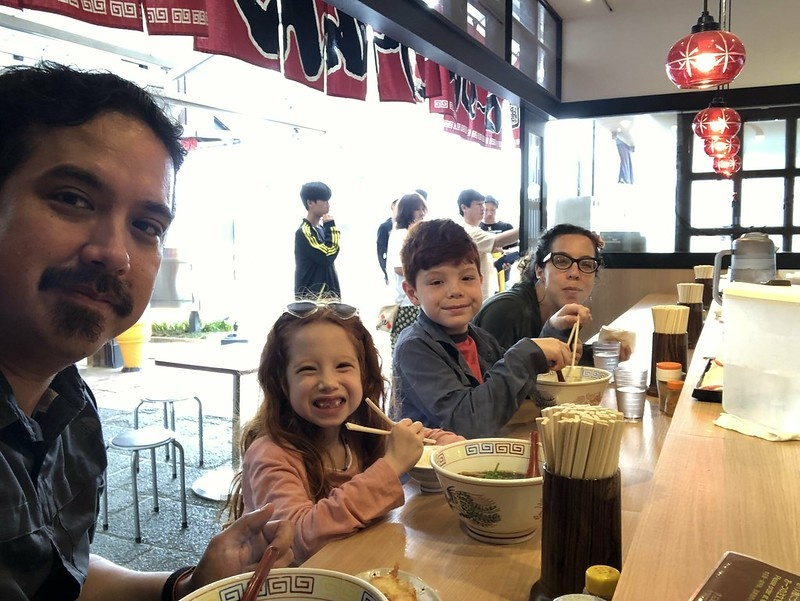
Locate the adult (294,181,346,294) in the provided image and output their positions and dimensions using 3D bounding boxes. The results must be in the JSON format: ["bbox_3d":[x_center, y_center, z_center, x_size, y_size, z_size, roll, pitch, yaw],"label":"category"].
[{"bbox_3d":[-0.705,-0.498,5.086,0.376,0.954,0.960,-2,7,-5],"label":"adult"}]

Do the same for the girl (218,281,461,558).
[{"bbox_3d":[-0.123,0.313,1.883,0.608,1.004,0.631,-4,-5,29],"label":"girl"}]

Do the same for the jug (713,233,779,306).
[{"bbox_3d":[1.944,-0.173,3.507,0.296,0.399,0.381,4,9,33],"label":"jug"}]

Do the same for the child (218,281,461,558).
[{"bbox_3d":[-0.118,0.322,1.880,0.608,1.004,0.631,-4,-5,29],"label":"child"}]

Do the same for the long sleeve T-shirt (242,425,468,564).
[{"bbox_3d":[-0.208,0.433,1.528,0.400,0.282,0.296,-12,-1,-13],"label":"long sleeve T-shirt"}]

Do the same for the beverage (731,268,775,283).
[{"bbox_3d":[1.926,-0.134,3.358,0.153,0.099,0.156,1,2,39],"label":"beverage"}]

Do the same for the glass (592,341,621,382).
[{"bbox_3d":[0.766,0.212,2.267,0.092,0.109,0.094,25,-27,-28],"label":"glass"}]

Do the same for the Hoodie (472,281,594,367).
[{"bbox_3d":[0.583,0.090,2.740,0.380,0.299,0.298,13,0,1],"label":"Hoodie"}]

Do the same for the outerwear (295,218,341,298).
[{"bbox_3d":[-0.681,-0.345,4.982,0.421,0.865,0.554,-2,12,-5],"label":"outerwear"}]

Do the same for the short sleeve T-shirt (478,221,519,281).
[{"bbox_3d":[0.936,-0.526,5.707,0.294,0.402,0.121,7,-9,-14],"label":"short sleeve T-shirt"}]

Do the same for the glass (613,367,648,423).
[{"bbox_3d":[0.726,0.303,1.956,0.092,0.151,0.096,0,9,14],"label":"glass"}]

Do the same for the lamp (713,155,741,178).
[{"bbox_3d":[2.966,-1.223,5.601,0.196,0.180,0.200,-7,7,-41],"label":"lamp"}]

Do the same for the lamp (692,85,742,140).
[{"bbox_3d":[2.490,-1.476,4.860,0.349,0.479,0.353,7,8,43],"label":"lamp"}]

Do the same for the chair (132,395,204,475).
[{"bbox_3d":[-1.518,0.901,4.052,0.437,0.660,0.435,-1,2,-43],"label":"chair"}]

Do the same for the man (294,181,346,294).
[{"bbox_3d":[-0.681,-0.483,4.965,0.384,0.954,1.331,-2,7,-7],"label":"man"}]
